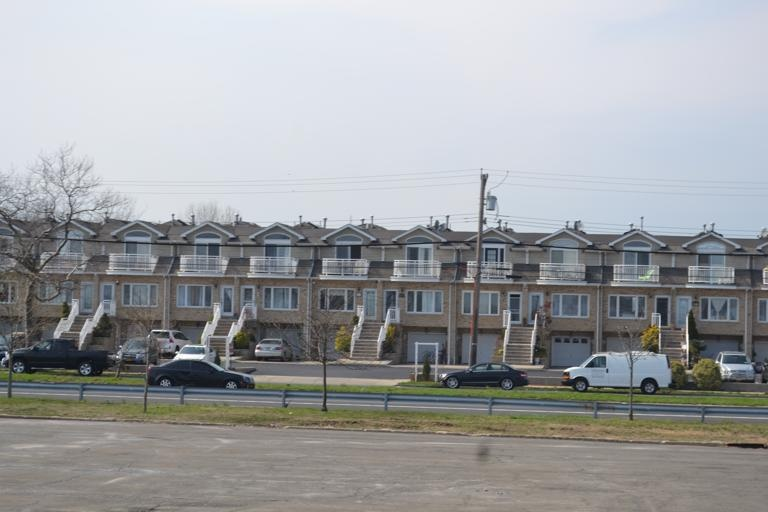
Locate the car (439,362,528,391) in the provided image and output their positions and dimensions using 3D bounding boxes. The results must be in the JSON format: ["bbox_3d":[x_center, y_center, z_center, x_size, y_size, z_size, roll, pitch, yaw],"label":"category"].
[{"bbox_3d":[6.113,7.503,103.611,4.837,1.063,1.856,3,-6,5],"label":"car"}]

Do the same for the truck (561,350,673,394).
[{"bbox_3d":[14.055,7.166,102.909,5.897,2.474,1.983,1,-10,3],"label":"truck"}]

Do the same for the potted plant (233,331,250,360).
[{"bbox_3d":[-9.838,6.259,118.102,1.738,1.698,1.702,0,1,1],"label":"potted plant"}]

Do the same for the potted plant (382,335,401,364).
[{"bbox_3d":[0.652,6.574,117.799,0.798,1.933,1.989,-3,-11,22],"label":"potted plant"}]

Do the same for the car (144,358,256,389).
[{"bbox_3d":[-10.438,7.001,98.996,5.755,1.396,2.102,0,-4,-1],"label":"car"}]

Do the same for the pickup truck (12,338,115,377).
[{"bbox_3d":[-19.456,6.480,104.507,6.905,2.003,2.442,0,-2,-4],"label":"pickup truck"}]

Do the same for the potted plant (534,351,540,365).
[{"bbox_3d":[10.293,7.031,115.130,0.543,0.843,0.442,1,-11,7],"label":"potted plant"}]
